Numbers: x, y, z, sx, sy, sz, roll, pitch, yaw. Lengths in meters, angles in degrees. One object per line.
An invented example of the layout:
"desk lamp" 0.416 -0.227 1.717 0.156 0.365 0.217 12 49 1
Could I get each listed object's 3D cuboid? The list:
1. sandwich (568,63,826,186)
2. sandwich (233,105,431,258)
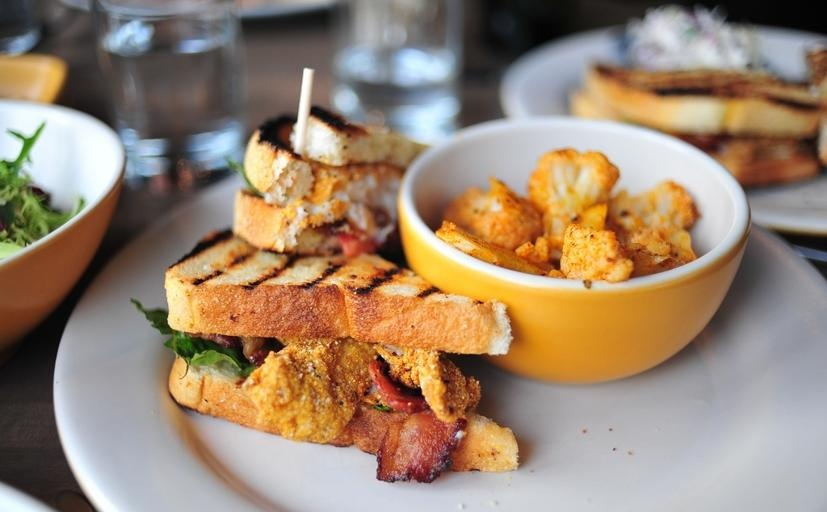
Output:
"sandwich" 0.928 -0.506 2.279 0.405 0.191 0.524 -8 26 -26
"sandwich" -0.250 -0.190 2.005 0.461 0.172 0.434 -12 32 -22
